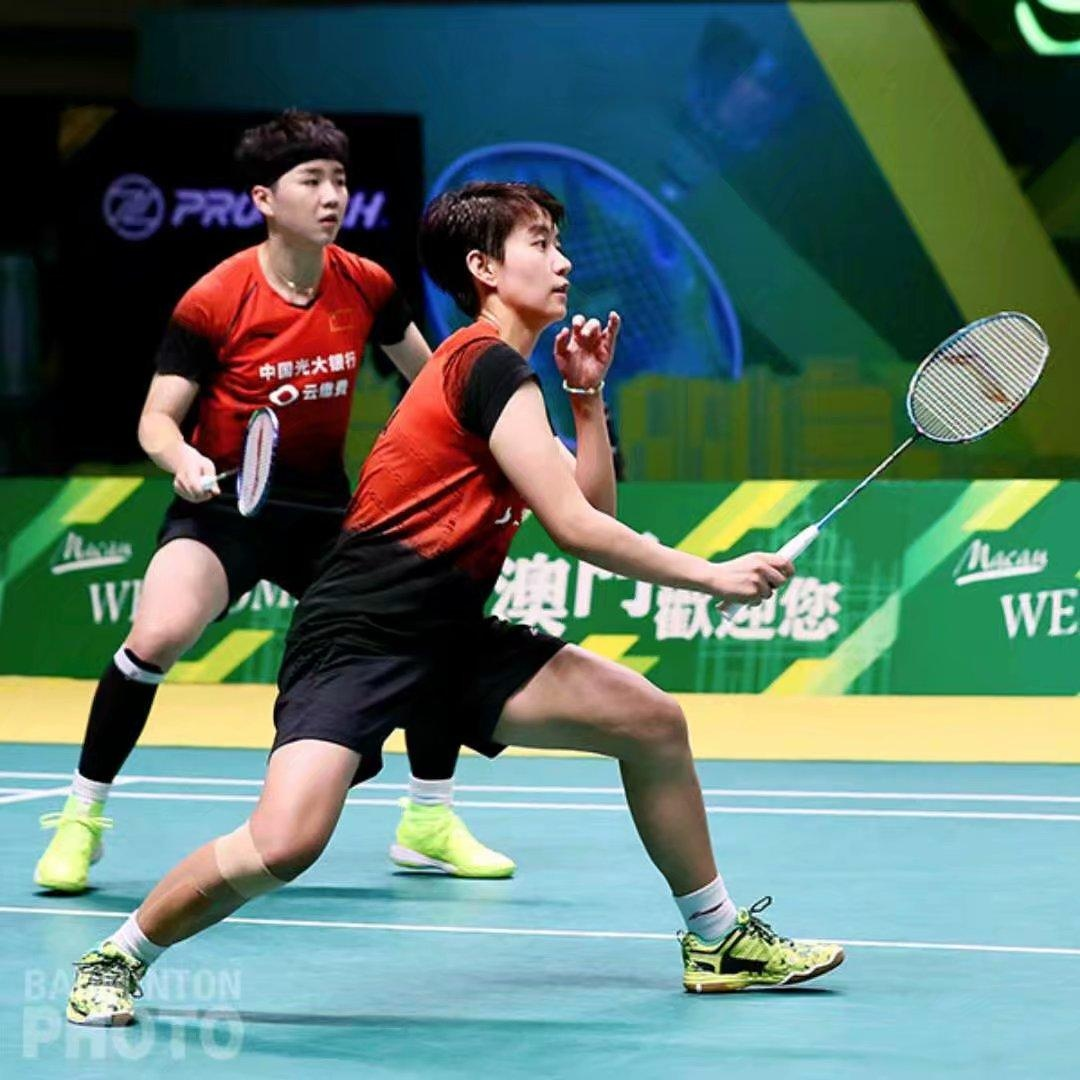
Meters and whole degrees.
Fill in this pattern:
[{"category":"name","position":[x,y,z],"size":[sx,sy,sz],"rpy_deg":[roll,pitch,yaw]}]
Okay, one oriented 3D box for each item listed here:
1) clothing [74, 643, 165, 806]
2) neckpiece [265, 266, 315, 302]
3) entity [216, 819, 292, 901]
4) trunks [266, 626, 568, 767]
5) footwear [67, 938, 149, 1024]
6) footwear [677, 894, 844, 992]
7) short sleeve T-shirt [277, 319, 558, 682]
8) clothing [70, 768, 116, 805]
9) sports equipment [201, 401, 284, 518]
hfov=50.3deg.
[{"category":"clothing","position":[-1.126,0.520,3.062],"size":[0.171,0.561,0.140],"rpy_deg":[11,30,-25]},{"category":"neckpiece","position":[-0.641,-0.669,2.993],"size":[0.120,0.095,0.096],"rpy_deg":[-6,-16,4]},{"category":"entity","position":[-0.433,0.476,1.733],"size":[0.085,0.094,0.112],"rpy_deg":[-31,51,-1]},{"category":"trunks","position":[-0.205,0.246,1.922],"size":[0.350,0.128,0.281],"rpy_deg":[-13,-3,-36]},{"category":"footwear","position":[-0.696,0.706,1.841],"size":[0.107,0.071,0.177],"rpy_deg":[24,8,-15]},{"category":"footwear","position":[0.376,0.747,2.142],"size":[0.363,0.198,0.127],"rpy_deg":[-2,1,-1]},{"category":"short sleeve T-shirt","position":[-0.180,-0.075,1.965],"size":[0.532,0.548,0.237],"rpy_deg":[-3,-4,35]},{"category":"clothing","position":[-1.187,0.657,3.058],"size":[0.094,0.063,0.085],"rpy_deg":[4,-7,-7]},{"category":"sports equipment","position":[-0.602,-0.161,2.435],"size":[0.064,0.281,0.172],"rpy_deg":[22,3,-31]}]
